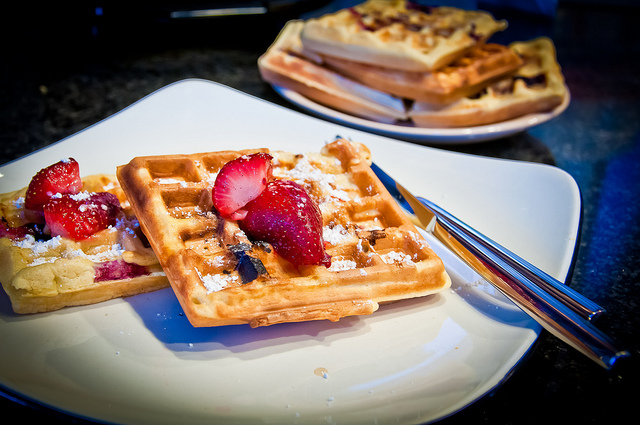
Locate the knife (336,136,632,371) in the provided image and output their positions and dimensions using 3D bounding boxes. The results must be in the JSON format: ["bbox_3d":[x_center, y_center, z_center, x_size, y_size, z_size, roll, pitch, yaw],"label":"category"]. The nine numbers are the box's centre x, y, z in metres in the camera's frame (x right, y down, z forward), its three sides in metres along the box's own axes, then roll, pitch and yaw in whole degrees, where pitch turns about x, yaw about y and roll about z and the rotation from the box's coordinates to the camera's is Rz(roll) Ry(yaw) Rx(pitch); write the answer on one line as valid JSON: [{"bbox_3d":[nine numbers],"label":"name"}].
[{"bbox_3d":[0.294,-0.042,1.954,0.197,0.086,1.743,-35,48,-15],"label":"knife"}]

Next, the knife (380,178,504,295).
[{"bbox_3d":[0.374,0.042,1.738,0.061,0.033,0.597,-38,51,1],"label":"knife"}]

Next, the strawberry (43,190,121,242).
[{"bbox_3d":[-0.729,0.010,1.627,0.238,0.083,0.190,-10,25,-33],"label":"strawberry"}]
